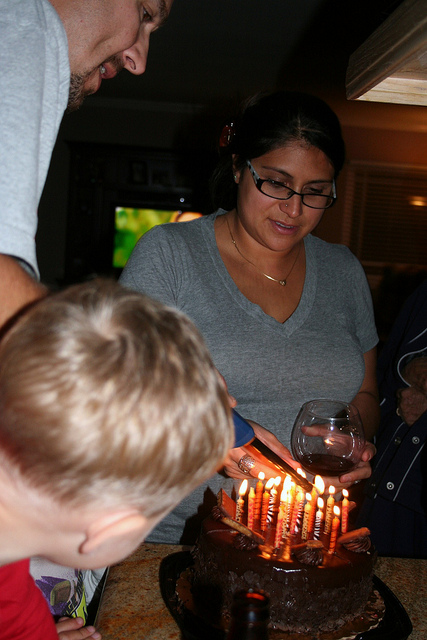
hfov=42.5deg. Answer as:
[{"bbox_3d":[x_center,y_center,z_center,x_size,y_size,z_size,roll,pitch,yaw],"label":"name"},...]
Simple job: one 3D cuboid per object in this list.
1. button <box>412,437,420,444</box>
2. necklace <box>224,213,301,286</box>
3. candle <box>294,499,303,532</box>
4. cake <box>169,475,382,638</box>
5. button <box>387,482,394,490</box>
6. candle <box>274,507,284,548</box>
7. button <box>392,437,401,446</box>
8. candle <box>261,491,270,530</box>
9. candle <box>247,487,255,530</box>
[{"bbox_3d":[0.738,0.434,1.986,0.024,0.022,0.013,7,6,15],"label":"button"},{"bbox_3d":[0.154,-0.215,1.685,0.251,0.199,0.129,5,6,-3],"label":"necklace"},{"bbox_3d":[0.188,0.419,1.192,0.014,0.075,0.014,4,-17,26],"label":"candle"},{"bbox_3d":[0.119,0.459,1.057,0.467,0.156,0.446,3,-1,-1],"label":"cake"},{"bbox_3d":[0.636,0.591,1.958,0.024,0.026,0.006,8,6,28],"label":"button"},{"bbox_3d":[0.134,0.416,1.103,0.012,0.072,0.040,7,6,11],"label":"candle"},{"bbox_3d":[0.682,0.449,2.033,0.007,0.026,0.028,30,-28,-36],"label":"button"},{"bbox_3d":[0.111,0.402,1.169,0.015,0.078,0.032,6,6,8],"label":"candle"},{"bbox_3d":[0.081,0.398,1.160,0.014,0.078,0.051,6,6,5],"label":"candle"}]
